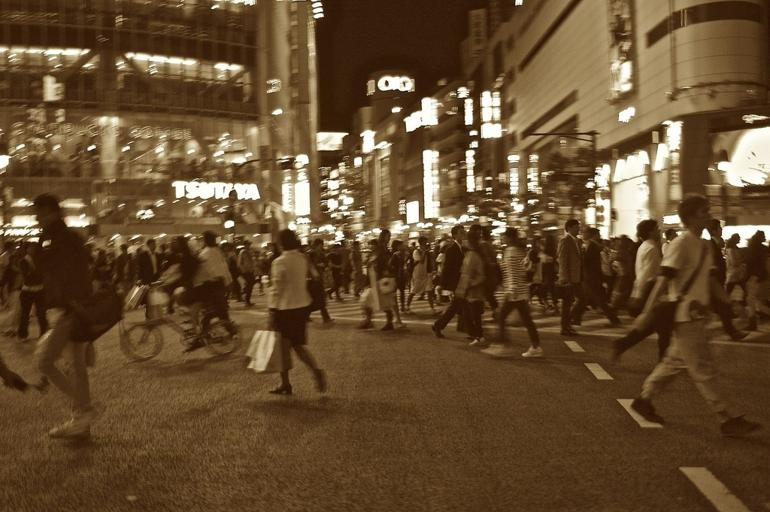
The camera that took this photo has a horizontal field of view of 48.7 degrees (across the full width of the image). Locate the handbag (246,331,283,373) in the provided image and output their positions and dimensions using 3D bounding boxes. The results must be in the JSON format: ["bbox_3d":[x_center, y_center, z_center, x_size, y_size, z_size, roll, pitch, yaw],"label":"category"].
[{"bbox_3d":[-2.060,1.567,14.009,0.782,0.685,0.344,-1,-1,29],"label":"handbag"}]

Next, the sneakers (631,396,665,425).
[{"bbox_3d":[3.880,2.203,12.187,0.214,0.250,0.615,-12,27,-37],"label":"sneakers"}]

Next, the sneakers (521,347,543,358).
[{"bbox_3d":[2.744,1.783,15.935,0.457,0.181,0.162,-1,-3,15],"label":"sneakers"}]

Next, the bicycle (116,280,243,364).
[{"bbox_3d":[-3.878,1.117,16.925,2.323,1.275,0.852,3,5,25],"label":"bicycle"}]

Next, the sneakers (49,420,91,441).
[{"bbox_3d":[-4.530,2.439,12.134,0.584,0.249,0.286,-4,14,-8],"label":"sneakers"}]

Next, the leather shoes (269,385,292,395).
[{"bbox_3d":[-1.640,2.156,13.876,0.452,0.171,0.145,2,-6,2],"label":"leather shoes"}]

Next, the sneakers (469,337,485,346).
[{"bbox_3d":[1.902,1.742,17.451,0.139,0.145,0.400,-12,-12,43],"label":"sneakers"}]
